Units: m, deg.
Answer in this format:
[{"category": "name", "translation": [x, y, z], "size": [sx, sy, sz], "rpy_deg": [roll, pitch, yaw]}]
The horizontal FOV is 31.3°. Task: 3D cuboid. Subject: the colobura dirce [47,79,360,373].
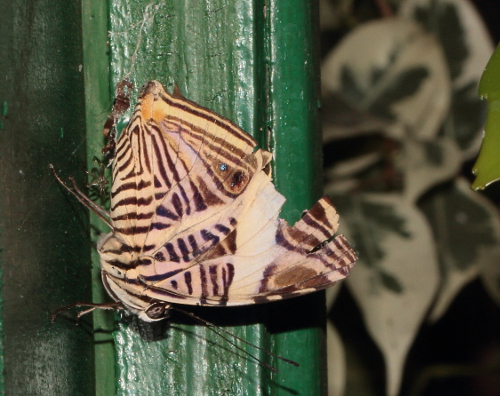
[{"category": "colobura dirce", "translation": [-0.189, 0.215, 2.335], "size": [0.742, 0.449, 0.686], "rpy_deg": [9, 74, -27]}]
